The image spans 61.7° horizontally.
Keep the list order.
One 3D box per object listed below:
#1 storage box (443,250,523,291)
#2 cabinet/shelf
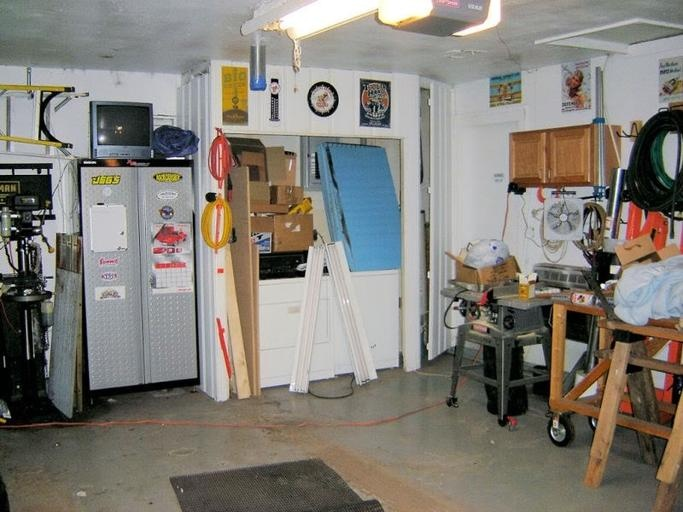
[{"bbox_3d":[1.501,0.158,5.931,0.470,0.301,0.463,-15,19,-16],"label":"storage box"},{"bbox_3d":[2.408,-1.107,6.454,0.964,0.599,0.474,4,9,42],"label":"cabinet/shelf"}]
